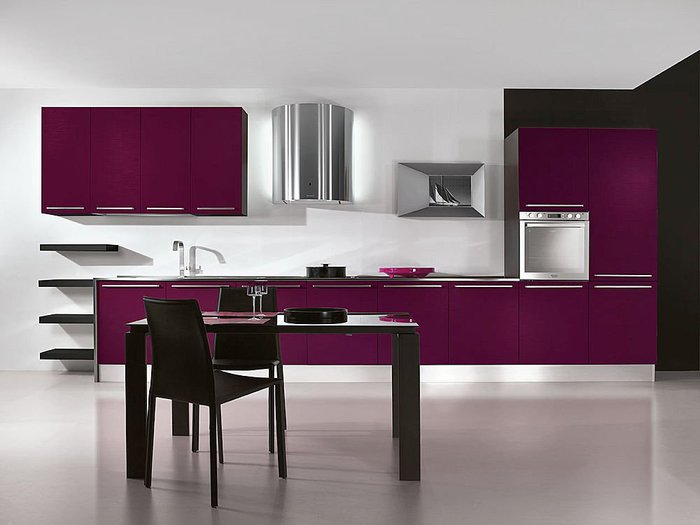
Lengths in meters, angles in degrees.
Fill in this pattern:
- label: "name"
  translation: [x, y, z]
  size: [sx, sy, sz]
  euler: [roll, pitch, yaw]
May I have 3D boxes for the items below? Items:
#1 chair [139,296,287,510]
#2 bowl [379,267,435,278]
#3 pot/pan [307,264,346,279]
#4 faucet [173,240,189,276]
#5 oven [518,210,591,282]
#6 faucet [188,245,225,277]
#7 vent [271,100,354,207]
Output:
- label: "chair"
  translation: [-0.898, 0.823, 4.131]
  size: [0.877, 1.229, 0.651]
  euler: [0, 10, 1]
- label: "bowl"
  translation: [0.567, 0.098, 6.450]
  size: [0.529, 0.091, 0.277]
  euler: [1, 10, 5]
- label: "pot/pan"
  translation: [-0.240, 0.084, 6.415]
  size: [0.376, 0.120, 0.276]
  euler: [-1, 10, -9]
- label: "faucet"
  translation: [-1.741, -0.047, 6.581]
  size: [0.145, 0.377, 0.595]
  euler: [-2, 10, -16]
- label: "oven"
  translation: [2.031, -0.155, 6.518]
  size: [0.719, 0.685, 0.551]
  euler: [1, -1, 0]
- label: "faucet"
  translation: [-1.487, -0.013, 6.593]
  size: [0.392, 0.309, 0.277]
  euler: [0, 0, -8]
- label: "vent"
  translation: [-0.361, -1.059, 6.716]
  size: [0.982, 1.019, 0.911]
  euler: [0, -5, -2]
